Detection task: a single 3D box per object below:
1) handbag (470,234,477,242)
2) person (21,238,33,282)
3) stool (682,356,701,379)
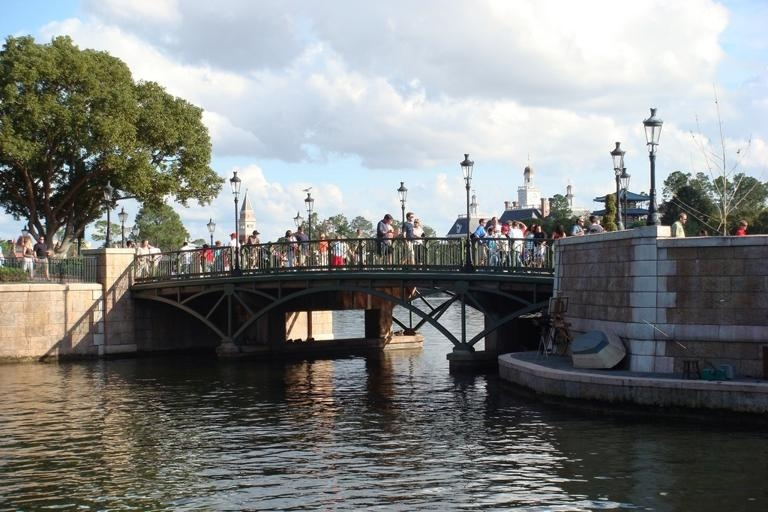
[{"bbox_3d":[3.283,-0.676,44.094,0.064,0.244,0.265,-8,-1,20],"label":"handbag"},{"bbox_3d":[-15.558,0.090,52.291,0.467,1.585,2.184,-4,8,-16],"label":"person"},{"bbox_3d":[9.357,3.456,36.503,0.585,0.800,0.572,0,-3,-5],"label":"stool"}]
